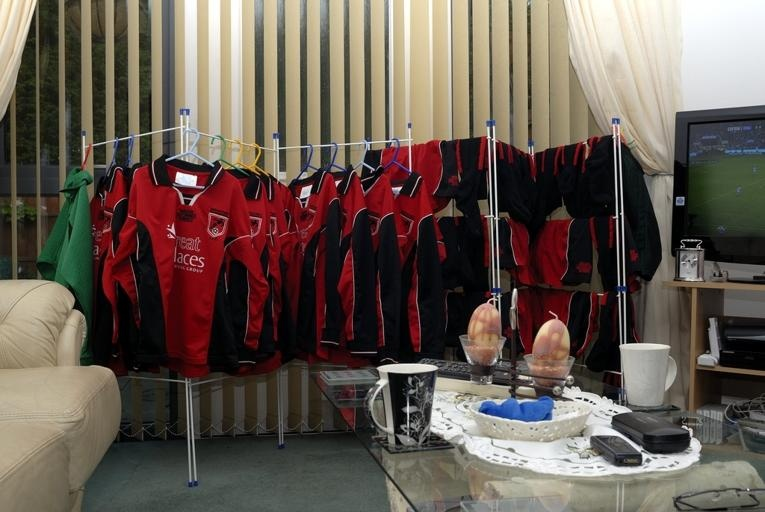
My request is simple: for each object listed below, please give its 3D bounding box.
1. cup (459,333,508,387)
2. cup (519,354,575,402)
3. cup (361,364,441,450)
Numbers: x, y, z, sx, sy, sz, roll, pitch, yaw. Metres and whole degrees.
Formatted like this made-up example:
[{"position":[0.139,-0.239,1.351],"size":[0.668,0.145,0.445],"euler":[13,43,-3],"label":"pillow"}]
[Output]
[{"position":[0.350,0.362,2.410],"size":[0.161,0.169,0.154],"euler":[0,-4,0],"label":"cup"},{"position":[0.571,0.413,2.374],"size":[0.150,0.130,0.161],"euler":[0,-5,0],"label":"cup"},{"position":[0.067,0.478,2.215],"size":[0.258,0.266,0.180],"euler":[-1,2,-39],"label":"cup"}]
